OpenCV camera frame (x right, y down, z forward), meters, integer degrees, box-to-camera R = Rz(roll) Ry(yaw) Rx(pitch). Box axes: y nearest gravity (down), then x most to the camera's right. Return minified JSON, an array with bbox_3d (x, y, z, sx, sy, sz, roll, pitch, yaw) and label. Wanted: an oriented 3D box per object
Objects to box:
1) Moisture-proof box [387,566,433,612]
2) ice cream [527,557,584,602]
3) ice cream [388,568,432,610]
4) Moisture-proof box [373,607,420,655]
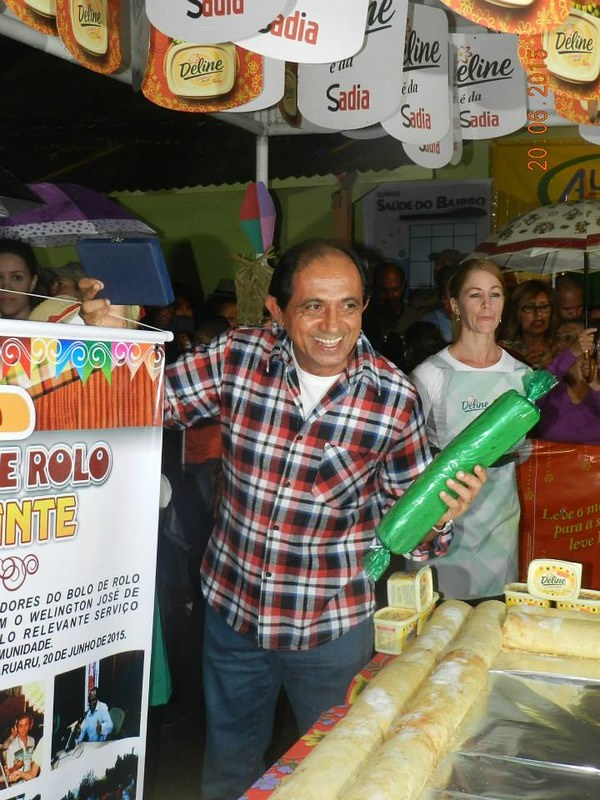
[{"bbox_3d":[0.318,0.544,2.004,0.137,0.125,0.110,2,5,43],"label":"Moisture-proof box"},{"bbox_3d":[0.741,0.525,1.980,0.165,0.116,0.132,1,11,13],"label":"ice cream"},{"bbox_3d":[0.319,0.543,2.000,0.133,0.120,0.111,2,3,40],"label":"ice cream"},{"bbox_3d":[0.260,0.622,1.837,0.106,0.078,0.142,-3,-7,27],"label":"Moisture-proof box"}]
